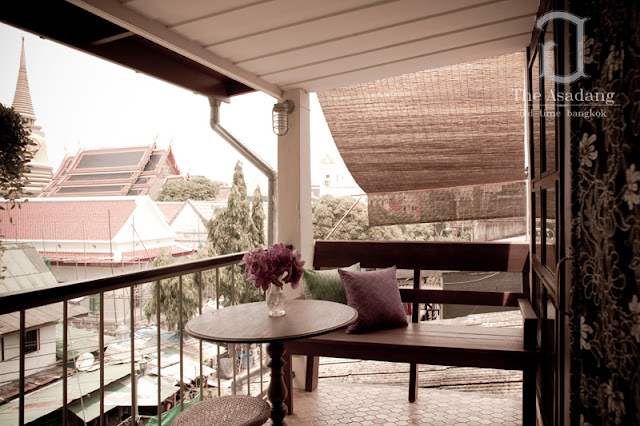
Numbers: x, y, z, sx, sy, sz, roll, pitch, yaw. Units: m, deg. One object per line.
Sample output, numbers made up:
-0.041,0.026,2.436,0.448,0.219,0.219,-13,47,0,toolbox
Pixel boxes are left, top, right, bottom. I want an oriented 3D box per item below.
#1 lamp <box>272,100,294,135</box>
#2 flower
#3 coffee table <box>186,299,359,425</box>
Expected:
-0.341,-0.909,4.638,0.184,0.377,0.175,-1,3,-5,lamp
-0.323,0.356,3.449,0.336,0.255,0.349,-2,1,45,flower
-0.318,0.787,3.360,0.934,0.589,0.918,-4,4,-35,coffee table
